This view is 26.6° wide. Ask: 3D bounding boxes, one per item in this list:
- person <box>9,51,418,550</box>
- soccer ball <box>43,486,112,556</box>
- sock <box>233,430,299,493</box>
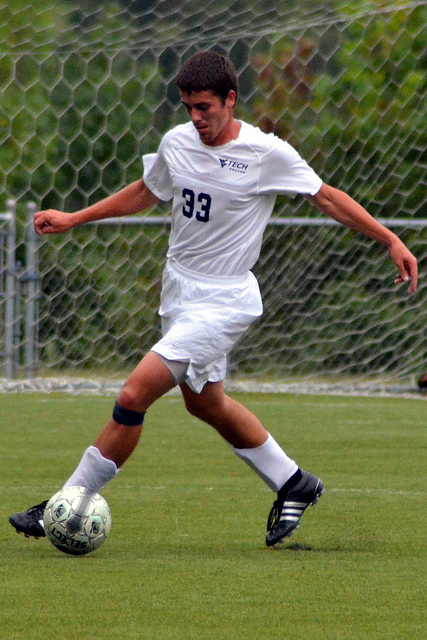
[{"bbox_3d":[0.039,-0.056,3.226,1.127,1.698,0.888,9,18,-20],"label":"person"},{"bbox_3d":[-0.444,0.654,2.898,0.211,0.232,0.127,12,17,-8],"label":"soccer ball"},{"bbox_3d":[0.180,0.530,3.330,0.250,0.200,0.069,16,17,11],"label":"sock"}]
